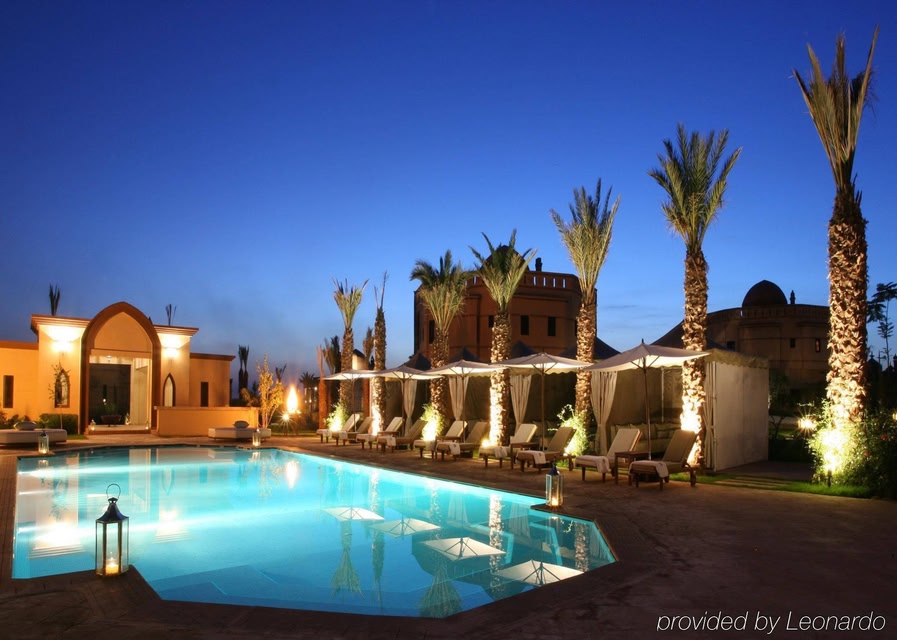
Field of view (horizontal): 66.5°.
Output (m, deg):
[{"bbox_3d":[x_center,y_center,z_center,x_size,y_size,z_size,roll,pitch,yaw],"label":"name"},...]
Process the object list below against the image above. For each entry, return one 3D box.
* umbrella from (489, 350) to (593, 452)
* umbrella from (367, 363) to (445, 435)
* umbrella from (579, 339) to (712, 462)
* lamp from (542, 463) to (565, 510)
[{"bbox_3d":[2.947,2.553,21.873,2.410,2.545,2.701,0,-2,-1],"label":"umbrella"},{"bbox_3d":[-1.528,3.196,28.787,2.519,2.820,2.901,-2,-4,24],"label":"umbrella"},{"bbox_3d":[5.551,2.294,19.245,2.852,2.888,3.091,-1,1,6],"label":"umbrella"},{"bbox_3d":[2.227,3.549,14.540,0.345,0.863,0.411,-2,-6,13],"label":"lamp"}]
